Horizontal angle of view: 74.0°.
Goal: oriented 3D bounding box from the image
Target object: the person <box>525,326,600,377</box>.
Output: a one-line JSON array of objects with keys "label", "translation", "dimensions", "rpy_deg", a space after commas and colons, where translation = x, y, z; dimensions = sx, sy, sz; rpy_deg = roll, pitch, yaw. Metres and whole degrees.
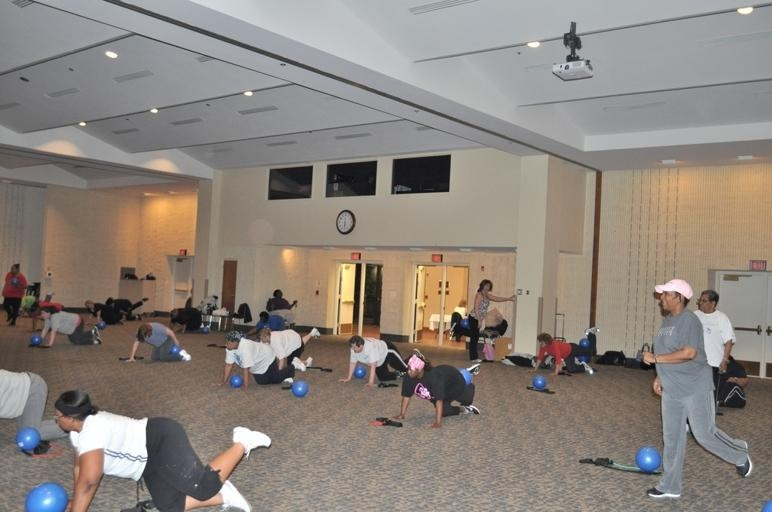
[{"label": "person", "translation": [4.450, 2.346, 12.611], "dimensions": [1.582, 1.037, 0.731], "rpy_deg": [1, 3, -12]}]

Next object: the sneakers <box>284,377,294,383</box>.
[{"label": "sneakers", "translation": [-1.975, 2.564, 10.587], "dimensions": [0.216, 0.100, 0.080], "rpy_deg": [5, -1, 31]}]

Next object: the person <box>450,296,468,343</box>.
[{"label": "person", "translation": [2.224, 1.882, 15.583], "dimensions": [0.458, 1.018, 0.587], "rpy_deg": [14, 16, 30]}]

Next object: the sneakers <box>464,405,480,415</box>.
[{"label": "sneakers", "translation": [1.497, 2.663, 8.881], "dimensions": [0.319, 0.132, 0.113], "rpy_deg": [-3, -4, -24]}]

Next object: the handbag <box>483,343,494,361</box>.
[{"label": "handbag", "translation": [2.885, 2.665, 14.189], "dimensions": [0.295, 0.509, 0.289], "rpy_deg": [2, -2, -1]}]

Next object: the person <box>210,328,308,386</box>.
[{"label": "person", "translation": [-2.433, 2.072, 10.277], "dimensions": [1.631, 1.089, 0.800], "rpy_deg": [3, -5, -31]}]

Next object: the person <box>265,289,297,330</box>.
[{"label": "person", "translation": [-3.597, 1.938, 17.610], "dimensions": [0.880, 1.489, 0.800], "rpy_deg": [-1, 2, 9]}]

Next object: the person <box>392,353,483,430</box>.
[{"label": "person", "translation": [1.030, 2.190, 8.469], "dimensions": [1.718, 1.023, 0.825], "rpy_deg": [7, -8, -39]}]

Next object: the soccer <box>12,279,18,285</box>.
[{"label": "soccer", "translation": [-12.361, 0.877, 17.130], "dimensions": [0.160, 0.237, 0.182], "rpy_deg": [1, -2, 22]}]

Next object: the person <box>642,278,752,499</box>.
[{"label": "person", "translation": [3.432, 1.558, 5.910], "dimensions": [1.205, 2.557, 0.526], "rpy_deg": [3, -2, -21]}]

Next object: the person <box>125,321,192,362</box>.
[{"label": "person", "translation": [-5.957, 2.288, 13.549], "dimensions": [0.541, 0.695, 1.001], "rpy_deg": [20, -16, 41]}]

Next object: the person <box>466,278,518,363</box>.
[{"label": "person", "translation": [2.888, 1.807, 14.445], "dimensions": [1.433, 2.231, 0.738], "rpy_deg": [5, 1, -23]}]

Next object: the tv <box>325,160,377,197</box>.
[{"label": "tv", "translation": [-1.131, -2.510, 16.715], "dimensions": [1.908, 1.147, 0.071], "rpy_deg": [4, 8, 26]}]

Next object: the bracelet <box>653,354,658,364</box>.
[{"label": "bracelet", "translation": [3.069, 1.184, 5.827], "dimensions": [0.056, 0.081, 0.078], "rpy_deg": [3, 1, 17]}]

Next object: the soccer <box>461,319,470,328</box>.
[{"label": "soccer", "translation": [2.225, 1.867, 14.235], "dimensions": [0.271, 0.342, 0.202], "rpy_deg": [-4, 1, 35]}]

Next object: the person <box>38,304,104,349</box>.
[{"label": "person", "translation": [-8.483, 1.967, 13.929], "dimensions": [0.822, 0.721, 1.753], "rpy_deg": [1, -14, 35]}]

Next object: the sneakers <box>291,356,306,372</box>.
[{"label": "sneakers", "translation": [-1.959, 2.487, 11.731], "dimensions": [0.195, 0.167, 0.460], "rpy_deg": [-7, -29, 20]}]

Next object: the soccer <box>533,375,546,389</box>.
[{"label": "soccer", "translation": [3.244, 2.664, 10.824], "dimensions": [0.279, 0.251, 0.438], "rpy_deg": [1, -2, 16]}]

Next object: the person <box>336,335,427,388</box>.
[{"label": "person", "translation": [-0.073, 2.091, 10.597], "dimensions": [0.812, 1.031, 1.939], "rpy_deg": [-4, -1, 40]}]

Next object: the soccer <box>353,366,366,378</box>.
[{"label": "soccer", "translation": [-0.589, 2.558, 11.206], "dimensions": [0.224, 0.221, 0.268], "rpy_deg": [-18, 4, 33]}]

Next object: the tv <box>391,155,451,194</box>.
[{"label": "tv", "translation": [1.100, -2.400, 15.500], "dimensions": [1.919, 1.155, 0.071], "rpy_deg": [2, 6, 31]}]

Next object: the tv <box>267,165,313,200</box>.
[{"label": "tv", "translation": [-3.228, -2.538, 17.793], "dimensions": [1.367, 0.829, 0.061], "rpy_deg": [0, -6, 32]}]

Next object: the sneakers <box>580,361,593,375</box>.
[{"label": "sneakers", "translation": [4.952, 2.773, 12.579], "dimensions": [0.349, 0.135, 0.249], "rpy_deg": [27, 4, 12]}]

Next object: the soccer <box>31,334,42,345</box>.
[{"label": "soccer", "translation": [-9.142, 2.216, 13.464], "dimensions": [0.220, 0.244, 0.505], "rpy_deg": [3, -2, -34]}]

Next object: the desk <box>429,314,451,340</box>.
[{"label": "desk", "translation": [1.956, 2.596, 18.738], "dimensions": [0.862, 0.721, 0.863], "rpy_deg": [-1, -6, 21]}]

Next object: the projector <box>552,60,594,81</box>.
[{"label": "projector", "translation": [3.130, -3.163, 8.607], "dimensions": [0.538, 0.328, 0.377], "rpy_deg": [1, -2, 37]}]

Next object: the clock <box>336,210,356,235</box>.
[{"label": "clock", "translation": [-1.269, -1.075, 16.555], "dimensions": [0.781, 0.785, 0.104], "rpy_deg": [1, -2, 38]}]
